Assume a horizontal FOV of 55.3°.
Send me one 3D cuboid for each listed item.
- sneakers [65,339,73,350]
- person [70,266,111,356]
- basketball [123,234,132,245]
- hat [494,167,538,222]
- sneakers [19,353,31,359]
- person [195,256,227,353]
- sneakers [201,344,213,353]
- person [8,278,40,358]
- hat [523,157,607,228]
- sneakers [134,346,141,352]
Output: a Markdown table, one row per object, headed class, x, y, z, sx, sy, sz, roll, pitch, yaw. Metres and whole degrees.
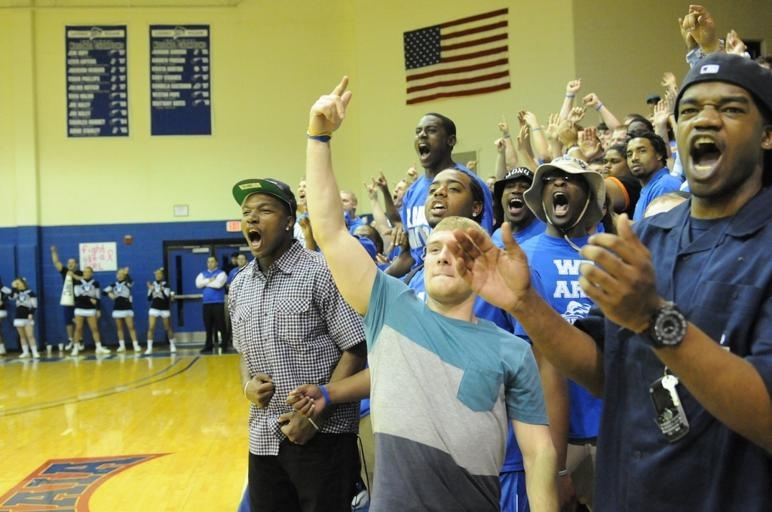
| class | x | y | z | sx | sy | sz | roll | pitch | yaw |
| --- | --- | --- | --- | --- | --- | --- | --- | --- | --- |
| sneakers | -6.986 | 1.968 | 16.254 | 0.106 | 0.091 | 0.272 | 4 | -47 | -52 |
| person | -6.400 | 1.190 | 15.802 | 0.669 | 1.740 | 1.038 | -3 | 5 | -23 |
| basketball | -5.840 | -0.374 | 16.733 | 0.193 | 0.222 | 0.197 | 2 | -6 | -11 |
| hat | 1.141 | -0.592 | 6.211 | 0.314 | 0.455 | 0.237 | 9 | 38 | 16 |
| sneakers | -7.529 | 2.094 | 15.378 | 0.249 | 0.105 | 0.146 | 2 | -2 | 36 |
| person | -3.605 | 0.993 | 15.305 | 0.577 | 1.900 | 0.902 | -3 | 4 | -15 |
| sneakers | -3.655 | 1.900 | 15.042 | 0.247 | 0.133 | 0.450 | -2 | 4 | -14 |
| person | -7.696 | 1.327 | 15.718 | 0.498 | 1.626 | 1.509 | -4 | 5 | -27 |
| hat | 1.409 | -0.538 | 5.648 | 0.496 | 0.604 | 0.306 | -8 | 19 | 19 |
| sneakers | -5.361 | 2.021 | 15.912 | 0.138 | 0.145 | 0.151 | 5 | 4 | 14 |
